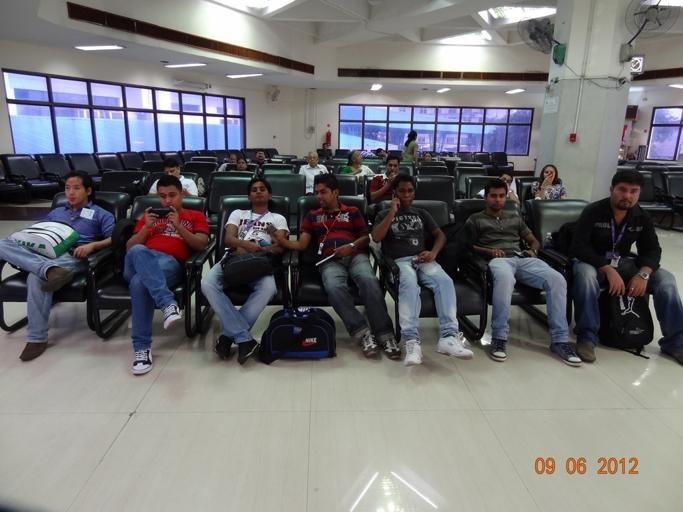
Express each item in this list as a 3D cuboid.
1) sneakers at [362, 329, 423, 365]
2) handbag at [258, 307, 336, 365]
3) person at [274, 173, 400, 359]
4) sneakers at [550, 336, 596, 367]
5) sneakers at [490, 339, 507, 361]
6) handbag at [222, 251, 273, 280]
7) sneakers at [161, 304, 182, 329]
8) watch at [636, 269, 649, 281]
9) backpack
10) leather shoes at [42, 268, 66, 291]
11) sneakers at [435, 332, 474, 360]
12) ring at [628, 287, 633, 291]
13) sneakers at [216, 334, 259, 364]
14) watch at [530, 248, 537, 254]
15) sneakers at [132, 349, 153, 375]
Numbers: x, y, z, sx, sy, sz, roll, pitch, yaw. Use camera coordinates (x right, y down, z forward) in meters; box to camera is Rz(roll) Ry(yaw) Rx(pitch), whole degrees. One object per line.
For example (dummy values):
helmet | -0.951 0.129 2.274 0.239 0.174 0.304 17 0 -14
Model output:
sneakers | 0.304 0.640 3.059 0.177 0.212 0.525 -7 -1 -31
handbag | -0.299 0.554 2.942 0.461 0.296 0.392 0 2 1
person | -0.044 0.018 3.244 0.726 0.689 1.662 -16 42 -9
sneakers | 1.598 0.682 3.055 0.120 0.128 0.348 -2 -1 -12
sneakers | 1.118 0.654 3.082 0.118 0.128 0.181 5 17 19
handbag | -0.670 0.085 3.089 0.384 0.209 0.195 1 17 6
sneakers | -1.158 0.419 2.976 0.101 0.115 0.298 -36 -3 -3
watch | 2.103 0.133 3.026 0.072 0.074 0.044 5 45 11
backpack | 2.043 0.453 3.118 0.319 0.388 0.181 -3 17 -5
leather shoes | -1.949 0.160 2.967 0.158 0.157 0.107 -9 18 -26
sneakers | 0.750 0.631 2.890 0.213 0.184 0.132 2 17 10
ring | 2.009 0.235 3.017 0.017 0.017 0.021 1 -6 -31
sneakers | -0.725 0.634 2.947 0.171 0.127 0.385 45 2 20
watch | 1.526 -0.031 3.433 0.042 0.029 0.054 -9 42 29
sneakers | -1.316 0.692 2.857 0.132 0.130 0.167 -9 18 -24
